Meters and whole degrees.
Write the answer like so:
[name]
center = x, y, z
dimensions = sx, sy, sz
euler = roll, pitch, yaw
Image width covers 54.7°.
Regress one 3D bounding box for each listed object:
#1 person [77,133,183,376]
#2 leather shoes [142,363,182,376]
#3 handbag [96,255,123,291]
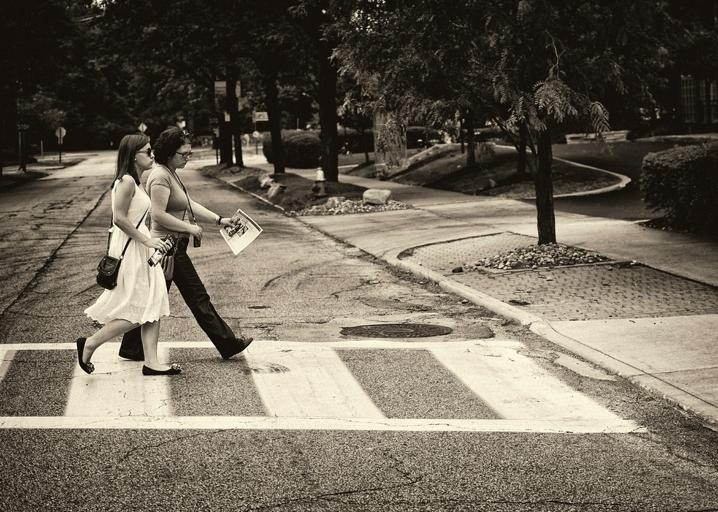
[person]
center = -2.285, 0.032, 6.833
dimensions = 0.901, 2.396, 0.464
euler = -3, 9, -14
[leather shoes]
center = -1.975, 1.169, 6.997
dimensions = 0.381, 0.108, 0.145
euler = -3, 3, -7
[handbag]
center = -2.412, 0.164, 6.770
dimensions = 0.305, 0.332, 0.185
euler = 17, 6, 34
